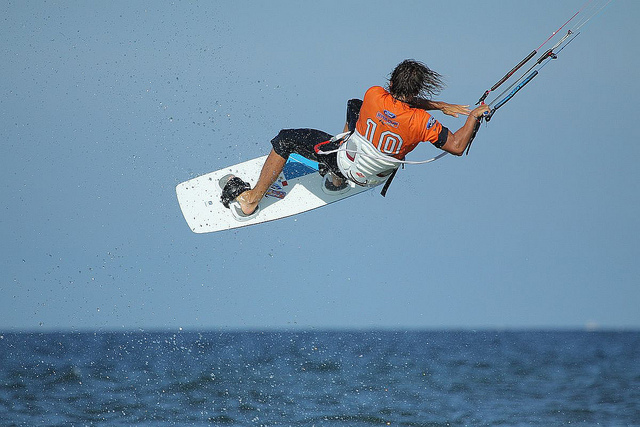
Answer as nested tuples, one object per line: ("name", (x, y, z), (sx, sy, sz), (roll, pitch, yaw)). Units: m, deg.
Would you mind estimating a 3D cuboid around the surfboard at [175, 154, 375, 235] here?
("surfboard", (-2.067, -0.818, 44.975), (9.069, 2.929, 1.271), (-13, -1, -2))
